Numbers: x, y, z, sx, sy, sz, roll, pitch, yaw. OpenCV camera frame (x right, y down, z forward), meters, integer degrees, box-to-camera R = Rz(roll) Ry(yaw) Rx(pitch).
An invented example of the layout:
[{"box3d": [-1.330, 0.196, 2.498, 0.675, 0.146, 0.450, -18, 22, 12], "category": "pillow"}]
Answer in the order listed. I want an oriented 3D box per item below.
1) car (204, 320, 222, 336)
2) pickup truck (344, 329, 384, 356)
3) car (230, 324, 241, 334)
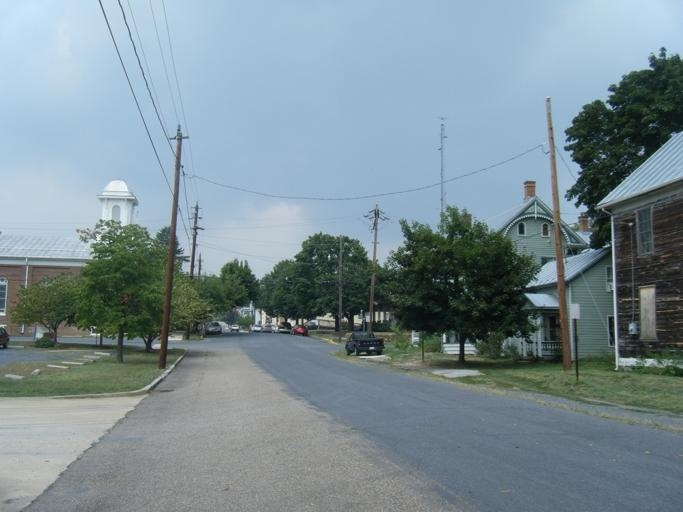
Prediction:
[{"box3d": [-14.570, 8.239, 75.139, 1.806, 1.538, 3.143, 2, 0, -5], "category": "car"}, {"box3d": [1.434, 5.611, 42.880, 1.912, 1.579, 2.258, 3, -12, -16], "category": "pickup truck"}, {"box3d": [-14.571, 9.989, 90.690, 1.759, 1.376, 3.781, 1, 0, -7], "category": "car"}]
